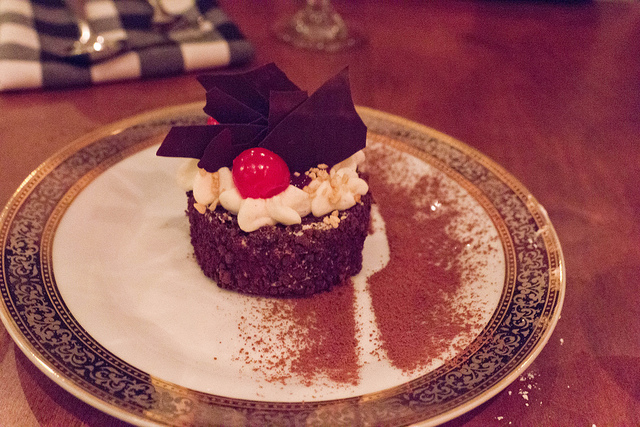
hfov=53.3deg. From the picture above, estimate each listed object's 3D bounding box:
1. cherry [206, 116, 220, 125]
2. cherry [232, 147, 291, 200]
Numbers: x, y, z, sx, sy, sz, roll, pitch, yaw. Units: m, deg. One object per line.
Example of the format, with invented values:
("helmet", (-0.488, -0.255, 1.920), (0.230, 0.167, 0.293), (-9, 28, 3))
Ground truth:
("cherry", (-0.532, -0.456, 3.175), (0.071, 0.075, 0.050), (1, 95, -3))
("cherry", (-0.249, -0.185, 3.086), (0.317, 0.373, 0.211), (-6, 96, -48))
